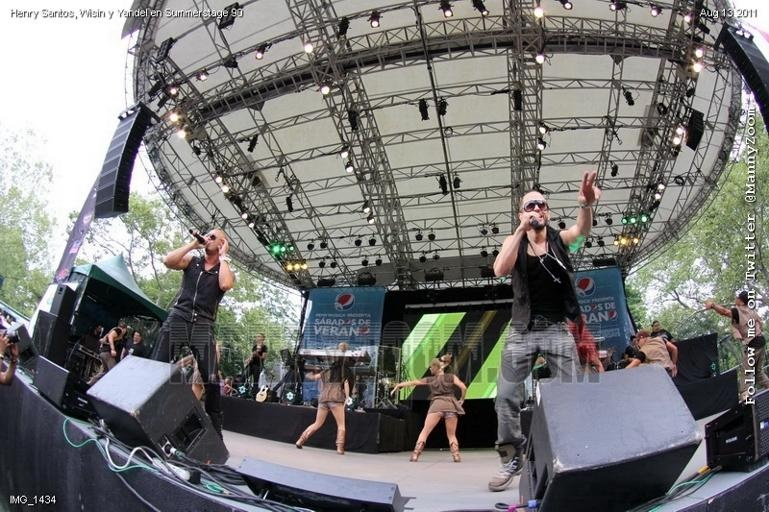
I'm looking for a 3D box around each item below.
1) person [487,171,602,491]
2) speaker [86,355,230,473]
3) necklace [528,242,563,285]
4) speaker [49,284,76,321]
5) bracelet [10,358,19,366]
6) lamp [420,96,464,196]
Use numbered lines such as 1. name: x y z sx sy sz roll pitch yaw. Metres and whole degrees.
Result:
1. person: 1.270 0.576 3.438 0.955 2.252 0.903 -7 -18 29
2. speaker: -1.680 1.169 3.394 1.010 0.779 0.586 16 -23 -31
3. necklace: 1.301 0.063 3.544 0.143 0.256 0.063 -30 -3 11
4. speaker: -3.134 0.442 4.413 0.194 0.287 0.199 11 -8 -2
5. bracelet: -3.419 0.992 4.157 0.071 0.063 0.030 -13 -5 -31
6. lamp: 2.026 -3.639 15.540 0.893 0.563 4.292 2 -45 24
